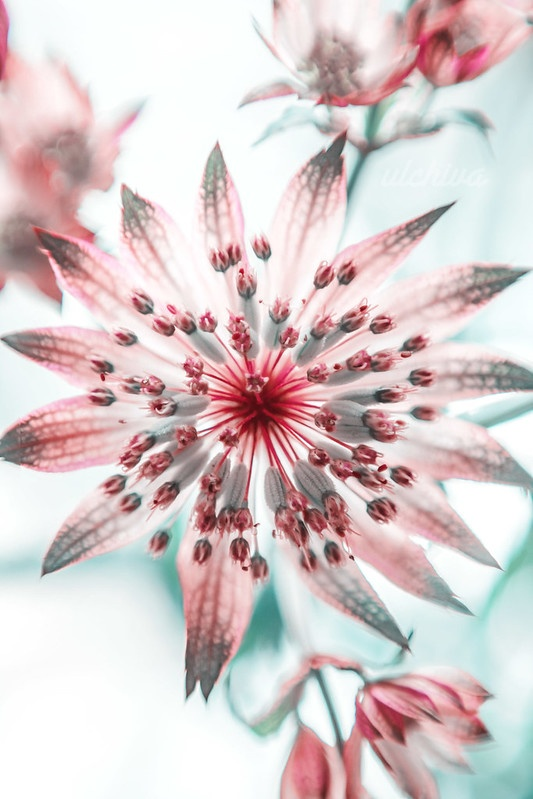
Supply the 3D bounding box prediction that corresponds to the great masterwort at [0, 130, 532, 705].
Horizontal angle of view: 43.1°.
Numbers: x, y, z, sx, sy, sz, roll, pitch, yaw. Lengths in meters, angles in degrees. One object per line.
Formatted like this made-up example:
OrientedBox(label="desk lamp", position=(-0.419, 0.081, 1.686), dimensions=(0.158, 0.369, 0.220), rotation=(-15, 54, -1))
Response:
OrientedBox(label="great masterwort", position=(0.012, 0.016, 1.393), dimensions=(1.103, 0.908, 0.663), rotation=(-21, -38, -5))
